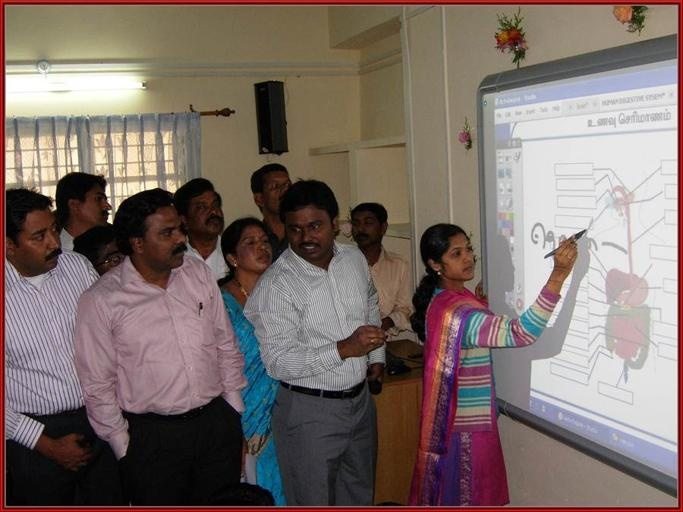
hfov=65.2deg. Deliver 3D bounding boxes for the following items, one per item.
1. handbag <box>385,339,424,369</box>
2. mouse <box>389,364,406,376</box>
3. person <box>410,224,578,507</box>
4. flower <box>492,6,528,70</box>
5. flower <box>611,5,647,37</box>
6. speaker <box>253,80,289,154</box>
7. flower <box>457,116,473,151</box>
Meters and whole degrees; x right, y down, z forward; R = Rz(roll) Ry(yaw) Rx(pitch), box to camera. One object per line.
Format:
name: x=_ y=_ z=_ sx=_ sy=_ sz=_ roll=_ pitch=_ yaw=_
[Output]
handbag: x=0.437 y=0.669 z=3.649 sx=0.123 sy=0.043 sz=0.184 roll=-8 pitch=18 yaw=-29
mouse: x=0.344 y=0.704 z=3.301 sx=0.090 sy=0.021 sz=0.052 roll=2 pitch=-2 yaw=-35
person: x=0.680 y=0.552 z=2.560 sx=0.785 sy=1.391 sz=0.464 roll=2 pitch=10 yaw=19
flower: x=0.833 y=-1.066 z=2.624 sx=0.122 sy=0.200 sz=0.142 roll=-18 pitch=20 yaw=-22
flower: x=1.142 y=-0.942 z=2.098 sx=0.113 sy=0.114 sz=0.053 roll=15 pitch=12 yaw=23
speaker: x=-0.782 y=-1.502 z=5.810 sx=0.342 sy=0.768 sz=0.263 roll=-2 pitch=9 yaw=0
flower: x=0.686 y=-0.689 z=3.000 sx=0.053 sy=0.184 sz=0.148 roll=-4 pitch=10 yaw=-13
